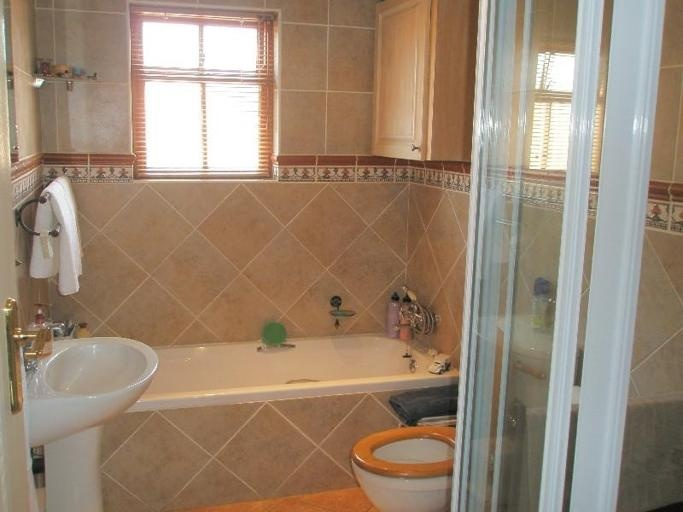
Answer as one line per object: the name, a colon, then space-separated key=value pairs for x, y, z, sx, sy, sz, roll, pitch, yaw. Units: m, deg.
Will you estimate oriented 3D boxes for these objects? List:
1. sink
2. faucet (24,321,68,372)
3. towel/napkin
sink: x=-0.925 y=0.484 z=2.209 sx=0.362 sy=0.153 sz=0.437 roll=-1 pitch=17 yaw=-25
faucet: x=-0.935 y=0.293 z=1.844 sx=0.100 sy=0.098 sz=0.400 roll=4 pitch=-30 yaw=-26
towel/napkin: x=-1.432 y=-0.113 z=2.896 sx=0.154 sy=0.396 sz=0.597 roll=-1 pitch=9 yaw=-17
